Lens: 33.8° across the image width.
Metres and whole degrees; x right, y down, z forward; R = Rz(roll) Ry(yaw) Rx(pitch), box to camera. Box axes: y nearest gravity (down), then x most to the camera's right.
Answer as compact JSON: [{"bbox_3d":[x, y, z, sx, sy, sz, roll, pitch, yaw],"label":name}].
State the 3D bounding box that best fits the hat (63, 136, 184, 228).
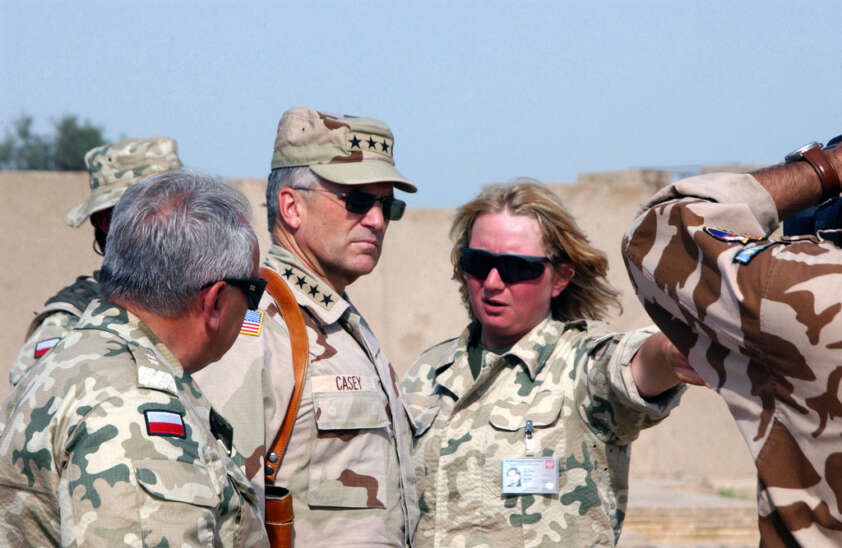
[{"bbox_3d":[-2.197,-0.703,9.394,0.548,0.378,0.753,11,22,21],"label":"hat"}]
